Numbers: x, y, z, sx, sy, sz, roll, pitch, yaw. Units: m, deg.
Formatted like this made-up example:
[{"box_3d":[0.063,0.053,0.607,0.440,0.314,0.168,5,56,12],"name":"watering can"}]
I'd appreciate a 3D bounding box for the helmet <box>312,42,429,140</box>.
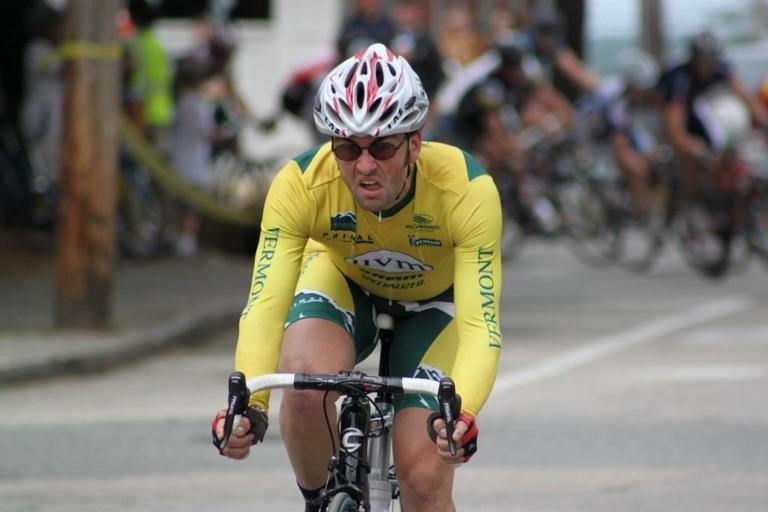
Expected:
[{"box_3d":[-0.074,-1.043,8.029,0.624,0.514,0.404,-10,18,-33],"name":"helmet"}]
